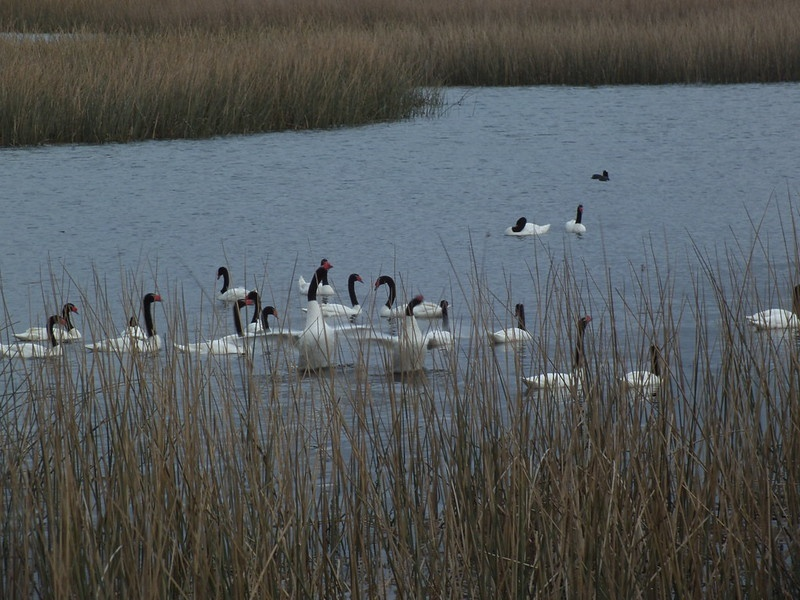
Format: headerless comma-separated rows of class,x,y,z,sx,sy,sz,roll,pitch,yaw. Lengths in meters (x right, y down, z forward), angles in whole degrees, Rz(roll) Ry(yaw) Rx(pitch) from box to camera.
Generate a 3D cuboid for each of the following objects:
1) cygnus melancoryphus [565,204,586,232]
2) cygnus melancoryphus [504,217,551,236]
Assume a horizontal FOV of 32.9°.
cygnus melancoryphus,2.277,-1.033,17.610,0.264,0.379,0.582,-4,8,8
cygnus melancoryphus,1.642,-0.934,17.421,0.373,0.277,0.736,-2,9,29
